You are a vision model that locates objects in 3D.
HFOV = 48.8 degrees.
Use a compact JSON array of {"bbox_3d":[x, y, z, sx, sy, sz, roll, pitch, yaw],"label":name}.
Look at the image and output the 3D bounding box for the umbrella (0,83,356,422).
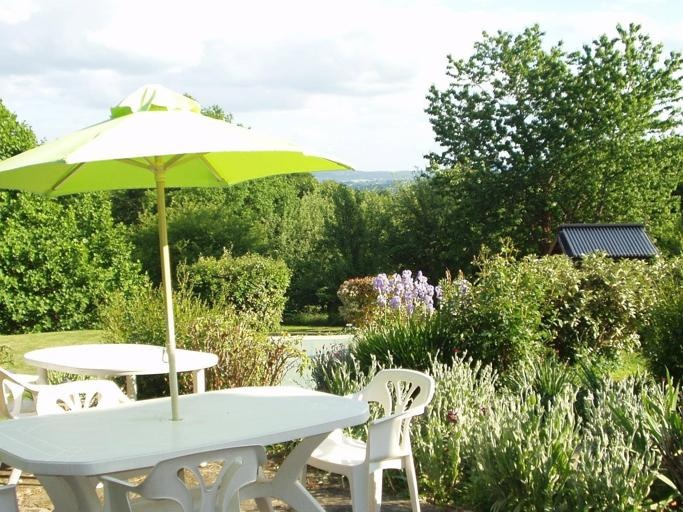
[{"bbox_3d":[-1.870,0.455,9.743,3.534,4.219,3.933,-2,-2,9],"label":"umbrella"}]
